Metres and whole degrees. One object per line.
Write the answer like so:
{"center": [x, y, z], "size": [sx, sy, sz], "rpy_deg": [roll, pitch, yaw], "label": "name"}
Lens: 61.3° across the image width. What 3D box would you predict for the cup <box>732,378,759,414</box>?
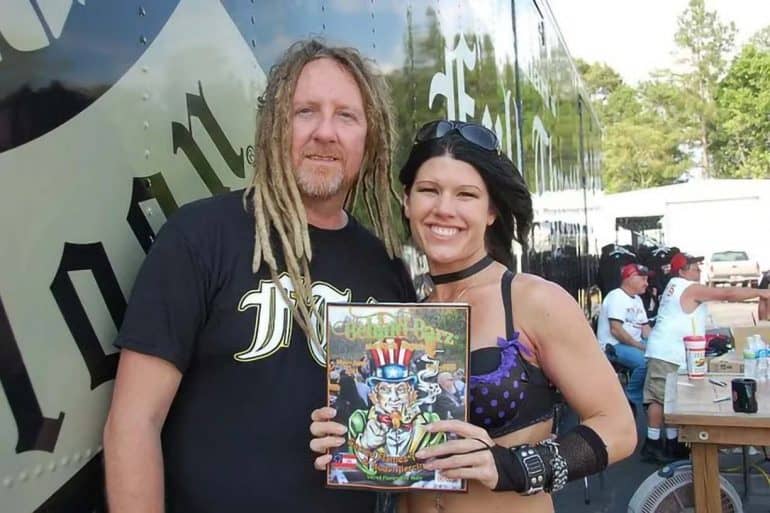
{"center": [2.164, 0.829, 3.911], "size": [0.133, 0.218, 0.170], "rpy_deg": [-6, -1, 28], "label": "cup"}
